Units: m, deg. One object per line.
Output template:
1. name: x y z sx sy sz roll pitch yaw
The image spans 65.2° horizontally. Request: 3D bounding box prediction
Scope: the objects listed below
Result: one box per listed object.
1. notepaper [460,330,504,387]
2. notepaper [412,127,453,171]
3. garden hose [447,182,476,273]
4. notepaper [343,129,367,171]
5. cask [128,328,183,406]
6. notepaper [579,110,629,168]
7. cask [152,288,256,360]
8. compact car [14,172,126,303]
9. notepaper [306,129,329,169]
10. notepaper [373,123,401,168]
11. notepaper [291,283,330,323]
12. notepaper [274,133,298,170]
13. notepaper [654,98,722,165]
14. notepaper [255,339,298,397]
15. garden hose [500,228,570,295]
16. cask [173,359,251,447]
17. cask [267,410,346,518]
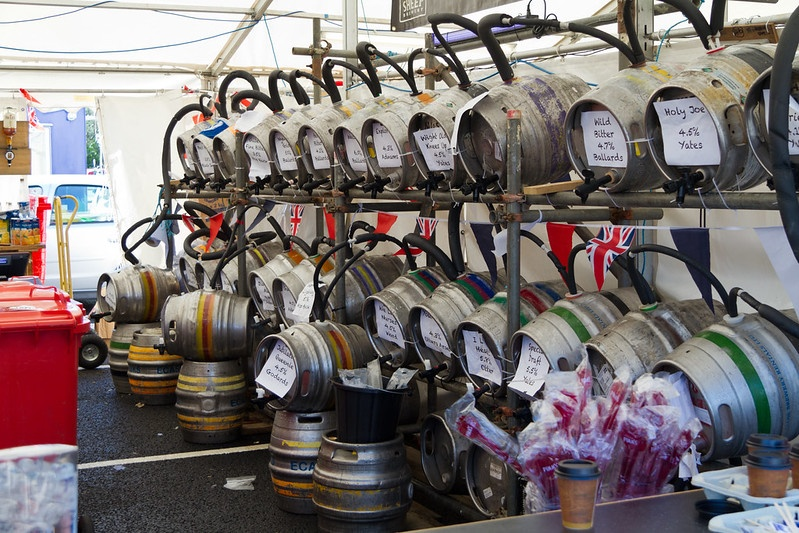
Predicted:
1. notepaper: 0.422 0.448 3.102 0.025 0.257 0.250 -25 31 -30
2. notepaper: 0.177 -0.612 3.195 0.022 0.247 0.235 -37 28 -23
3. garden hose: 0.339 -0.165 3.512 0.105 0.477 0.121 -13 -14 29
4. notepaper: -0.267 -0.691 3.737 0.051 0.207 0.214 -13 24 -29
5. cask: -2.044 0.863 5.592 0.619 0.613 0.622 1 2 -12
6. notepaper: 0.847 -0.527 2.551 0.014 0.259 0.238 -15 14 -22
7. cask: -1.419 0.427 4.597 0.786 0.547 0.540 -1 2 5
8. compact car: -5.365 -0.484 10.825 2.132 2.008 1.452 -2 2 -6
9. notepaper: -0.489 -0.765 4.058 0.054 0.209 0.221 -18 35 -31
10. notepaper: -0.072 -0.658 3.466 0.080 0.242 0.177 -26 27 -26
11. notepaper: -0.536 0.223 3.967 0.061 0.258 0.249 18 -28 -22
12. notepaper: -0.800 -0.784 4.360 0.165 0.289 0.069 5 31 38
13. notepaper: 1.064 -0.498 2.273 0.023 0.278 0.271 -27 17 -29
14. notepaper: -0.708 0.607 3.662 0.132 0.328 0.265 7 11 -38
15. garden hose: 0.750 -0.031 3.409 0.088 0.358 0.196 -36 11 -18
16. cask: -1.427 1.006 4.787 0.572 0.564 0.578 0 0 2
17. cask: -0.564 1.144 3.850 0.545 0.697 0.514 1 1 1
